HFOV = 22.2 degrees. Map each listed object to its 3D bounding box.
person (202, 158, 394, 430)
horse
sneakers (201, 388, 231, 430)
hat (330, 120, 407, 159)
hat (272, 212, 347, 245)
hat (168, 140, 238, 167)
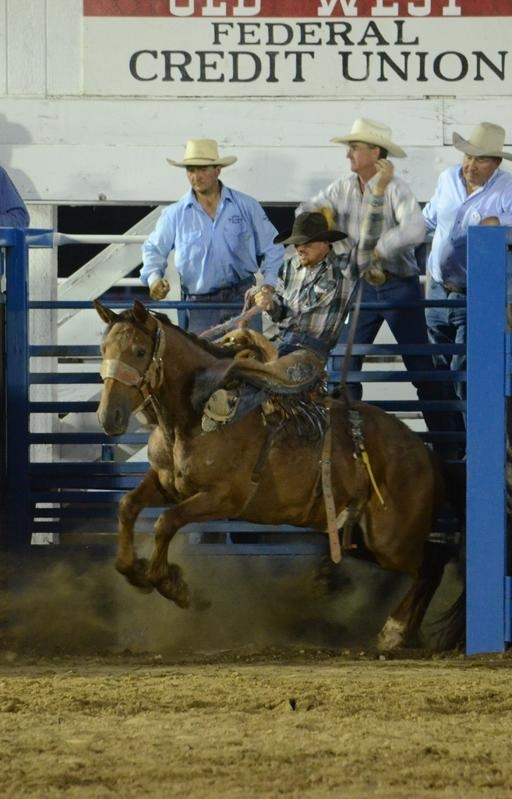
[{"bbox_3d":[0.149,-0.667,6.807,0.966,1.293,0.672,-14,30,-40],"label":"person"},{"bbox_3d":[0.049,0.448,6.769,2.085,1.949,0.549,-4,3,-39],"label":"horse"},{"bbox_3d":[-0.180,0.048,6.323,0.138,0.194,0.073,31,4,30],"label":"sneakers"},{"bbox_3d":[0.738,-1.547,7.701,0.282,0.130,0.354,14,-6,43],"label":"hat"},{"bbox_3d":[0.306,-0.944,7.095,0.348,0.202,0.454,-3,3,-5],"label":"hat"},{"bbox_3d":[-0.301,-1.565,8.189,0.358,0.130,0.394,-3,-1,-3],"label":"hat"}]
